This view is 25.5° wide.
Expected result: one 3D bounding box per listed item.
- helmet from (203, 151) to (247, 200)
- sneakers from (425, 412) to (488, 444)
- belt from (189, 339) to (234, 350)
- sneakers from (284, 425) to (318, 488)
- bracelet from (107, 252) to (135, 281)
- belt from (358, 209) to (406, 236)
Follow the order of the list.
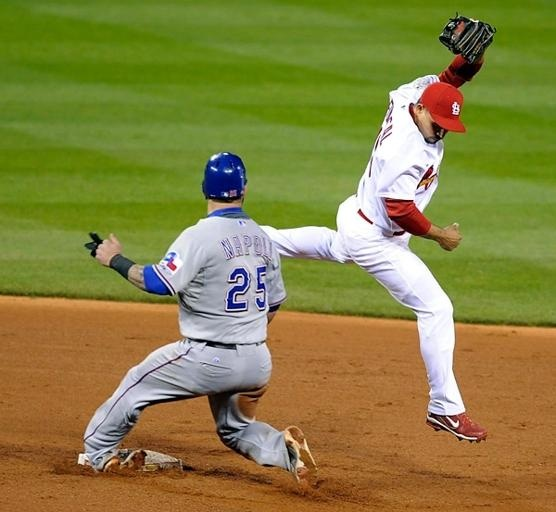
[{"bbox_3d":[-0.398,-0.607,9.207,0.286,0.310,0.371,5,38,3],"label":"helmet"},{"bbox_3d":[1.427,1.344,9.848,0.493,0.265,0.215,10,4,13],"label":"sneakers"},{"bbox_3d":[-0.487,0.633,8.999,0.345,0.057,0.027,12,15,3],"label":"belt"},{"bbox_3d":[0.167,1.516,9.360,0.298,0.447,0.111,-22,18,2],"label":"sneakers"},{"bbox_3d":[-1.158,0.067,9.049,0.218,0.130,0.093,35,4,21],"label":"bracelet"},{"bbox_3d":[0.819,-0.290,9.902,0.299,0.106,0.219,4,26,-2],"label":"belt"}]
